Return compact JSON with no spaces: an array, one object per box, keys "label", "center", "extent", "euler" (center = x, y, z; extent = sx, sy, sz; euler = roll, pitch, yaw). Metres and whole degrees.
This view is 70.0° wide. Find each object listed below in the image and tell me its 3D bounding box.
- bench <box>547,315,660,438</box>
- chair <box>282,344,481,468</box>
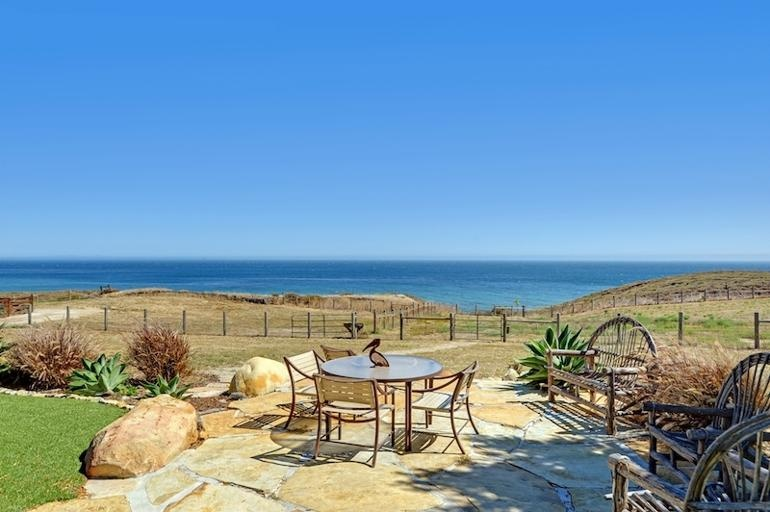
[{"label":"bench","center":[3.761,2.158,9.608],"extent":[1.273,1.448,2.576],"euler":[3,-4,-5]},{"label":"chair","center":[0.034,2.143,8.632],"extent":[2.760,1.421,2.492],"euler":[-1,-1,16]}]
